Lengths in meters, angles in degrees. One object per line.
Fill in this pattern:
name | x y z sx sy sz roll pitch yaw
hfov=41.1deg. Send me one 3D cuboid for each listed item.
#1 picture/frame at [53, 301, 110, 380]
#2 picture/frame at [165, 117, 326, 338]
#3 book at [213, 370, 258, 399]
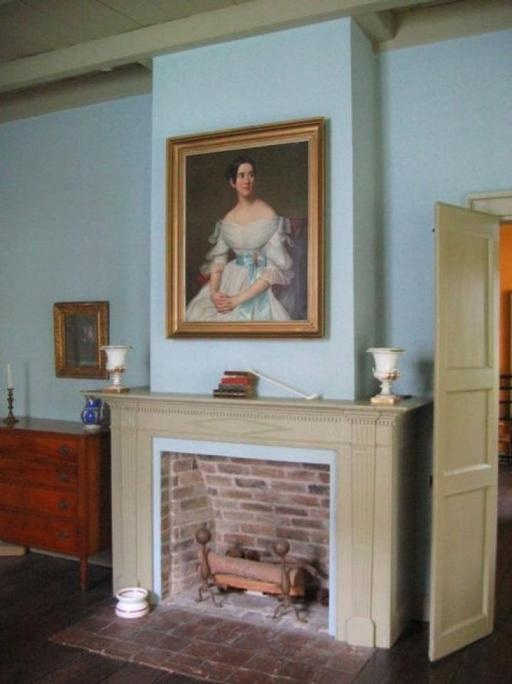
picture/frame | -1.218 -0.012 4.816 0.604 0.642 0.054 2 3 27
picture/frame | -0.081 -0.613 3.816 0.992 1.164 0.091 0 1 30
book | -0.111 0.232 3.718 0.240 0.140 0.145 0 1 -3
